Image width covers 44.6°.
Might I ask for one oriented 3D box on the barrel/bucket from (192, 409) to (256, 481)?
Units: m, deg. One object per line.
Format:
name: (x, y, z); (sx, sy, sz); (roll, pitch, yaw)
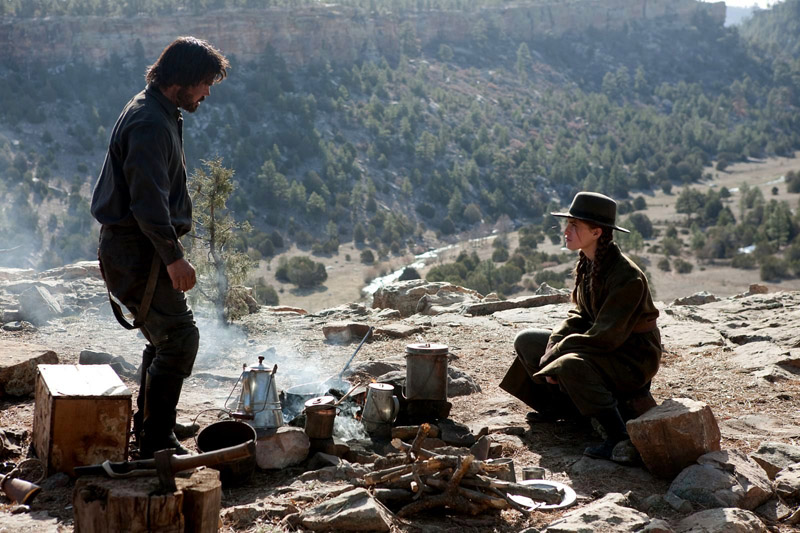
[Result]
barrel/bucket: (-2.064, 2.345, 12.229); (0.734, 0.644, 0.841); (-27, 33, -1)

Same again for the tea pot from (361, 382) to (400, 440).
tea pot: (-0.317, 1.956, 13.197); (0.560, 0.692, 0.498); (3, -2, 38)

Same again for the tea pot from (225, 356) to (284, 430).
tea pot: (-1.809, 1.724, 12.800); (0.577, 1.082, 0.548); (0, 0, 0)

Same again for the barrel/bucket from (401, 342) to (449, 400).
barrel/bucket: (0.392, 1.389, 13.354); (0.615, 0.769, 0.529); (2, 2, 24)

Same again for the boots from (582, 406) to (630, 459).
boots: (2.722, 2.164, 12.790); (0.534, 0.647, 0.450); (3, 5, 14)

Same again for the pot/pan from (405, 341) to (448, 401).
pot/pan: (0.358, 1.429, 13.134); (0.524, 0.833, 0.468); (3, -1, -5)

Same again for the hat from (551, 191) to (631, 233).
hat: (2.568, -0.727, 12.937); (0.714, 0.269, 0.635); (15, -1, -4)
